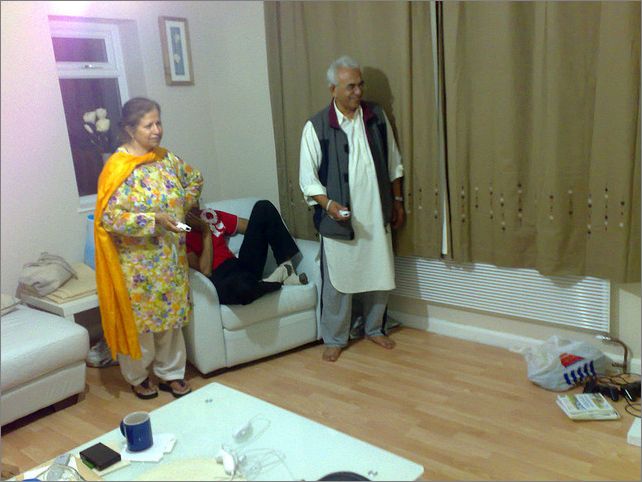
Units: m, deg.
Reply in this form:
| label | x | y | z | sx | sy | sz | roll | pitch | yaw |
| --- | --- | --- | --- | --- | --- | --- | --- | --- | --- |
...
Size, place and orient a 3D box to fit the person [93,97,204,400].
| label | x | y | z | sx | sy | sz | roll | pitch | yaw |
| --- | --- | --- | --- | --- | --- | --- | --- | --- | --- |
| person | -0.948 | 0.095 | 2.936 | 0.605 | 1.787 | 0.664 | 21 | 25 | 39 |

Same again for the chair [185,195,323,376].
| label | x | y | z | sx | sy | sz | roll | pitch | yaw |
| --- | --- | --- | --- | --- | --- | --- | --- | --- | --- |
| chair | -0.545 | 0.123 | 3.538 | 1.037 | 1.095 | 0.977 | -10 | 18 | -28 |

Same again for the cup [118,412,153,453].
| label | x | y | z | sx | sy | sz | roll | pitch | yaw |
| --- | --- | --- | --- | --- | --- | --- | --- | --- | --- |
| cup | -0.722 | 0.758 | 1.965 | 0.098 | 0.142 | 0.156 | -4 | 1 | -38 |

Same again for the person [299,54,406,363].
| label | x | y | z | sx | sy | sz | roll | pitch | yaw |
| --- | --- | --- | --- | --- | --- | --- | --- | --- | --- |
| person | 0.231 | -0.187 | 3.182 | 0.697 | 1.889 | 0.481 | -6 | 19 | -6 |

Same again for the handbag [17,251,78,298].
| label | x | y | z | sx | sy | sz | roll | pitch | yaw |
| --- | --- | --- | --- | --- | --- | --- | --- | --- | --- |
| handbag | -1.777 | 0.275 | 3.177 | 0.282 | 0.109 | 0.284 | -23 | 37 | -28 |

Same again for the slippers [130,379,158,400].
| label | x | y | z | sx | sy | sz | roll | pitch | yaw |
| --- | --- | --- | --- | --- | --- | --- | --- | --- | --- |
| slippers | -1.087 | 0.903 | 3.013 | 0.157 | 0.061 | 0.085 | 9 | 17 | 44 |

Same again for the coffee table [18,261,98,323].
| label | x | y | z | sx | sy | sz | roll | pitch | yaw |
| --- | --- | --- | --- | --- | --- | --- | --- | --- | --- |
| coffee table | -1.646 | 0.333 | 3.154 | 0.381 | 0.187 | 0.411 | 19 | 27 | 29 |

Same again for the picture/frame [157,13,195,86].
| label | x | y | z | sx | sy | sz | roll | pitch | yaw |
| --- | --- | --- | --- | --- | --- | --- | --- | --- | --- |
| picture/frame | -1.161 | -1.525 | 3.934 | 0.261 | 0.515 | 0.119 | -13 | 20 | -25 |
